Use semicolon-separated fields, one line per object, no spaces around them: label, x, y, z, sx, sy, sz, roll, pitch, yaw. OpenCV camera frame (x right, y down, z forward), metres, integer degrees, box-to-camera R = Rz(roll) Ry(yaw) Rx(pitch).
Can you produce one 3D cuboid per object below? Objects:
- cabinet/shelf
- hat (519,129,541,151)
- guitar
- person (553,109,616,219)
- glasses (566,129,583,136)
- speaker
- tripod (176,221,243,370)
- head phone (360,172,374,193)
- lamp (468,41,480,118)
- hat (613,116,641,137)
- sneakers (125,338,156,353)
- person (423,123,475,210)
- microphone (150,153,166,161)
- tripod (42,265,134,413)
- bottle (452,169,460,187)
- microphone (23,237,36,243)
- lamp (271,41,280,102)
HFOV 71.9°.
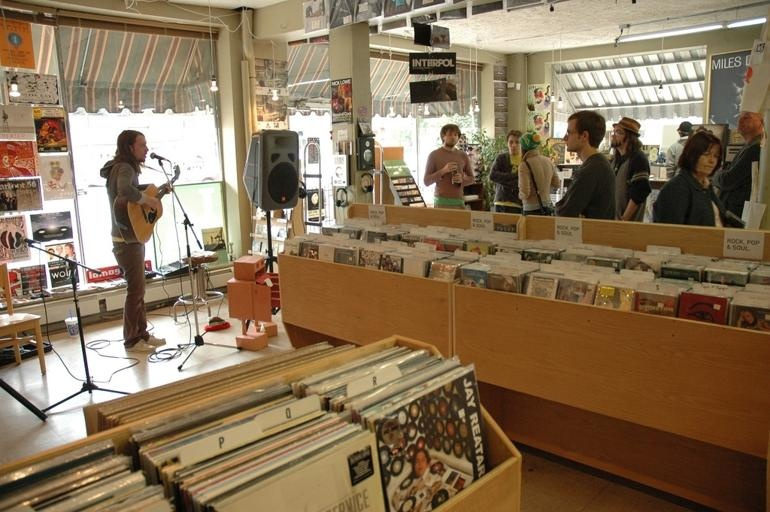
cabinet/shelf;-1.341;0.486;5.498;0.503;0.963;0.603;-7;14;-12
hat;1.448;-1.154;5.330;0.162;0.175;0.227;9;34;18
guitar;-2.478;-0.526;5.303;0.482;0.787;0.330;-11;16;-27
person;1.438;-0.626;3.815;0.407;0.799;0.477;1;15;18
glasses;1.348;-0.887;3.830;0.067;0.036;0.053;0;11;1
speaker;-1.197;-0.936;5.784;0.602;0.851;0.350;-8;14;-14
tripod;-2.065;0.491;6.238;0.748;1.849;0.853;-4;22;-7
head phone;-0.222;-0.980;7.087;0.195;0.240;0.114;0;5;-42
lamp;1.936;-3.630;11.292;0.250;1.439;0.688;-1;14;14
hat;2.127;-1.144;4.699;0.197;0.173;0.412;2;16;23
sneakers;-2.516;0.930;5.548;0.250;0.121;0.145;1;5;-9
person;0.770;-1.082;6.609;0.567;1.078;0.864;0;15;15
microphone;-2.265;-1.004;5.311;0.090;0.081;0.279;0;10;-36
tripod;-2.991;0.844;5.351;0.894;1.214;0.885;11;17;32
bottle;0.883;-0.953;6.551;0.102;0.228;0.325;-2;15;8
microphone;-3.235;-0.143;4.883;0.121;0.030;0.076;0;1;44
lamp;-1.570;-2.643;7.661;0.040;0.781;0.171;6;17;37
